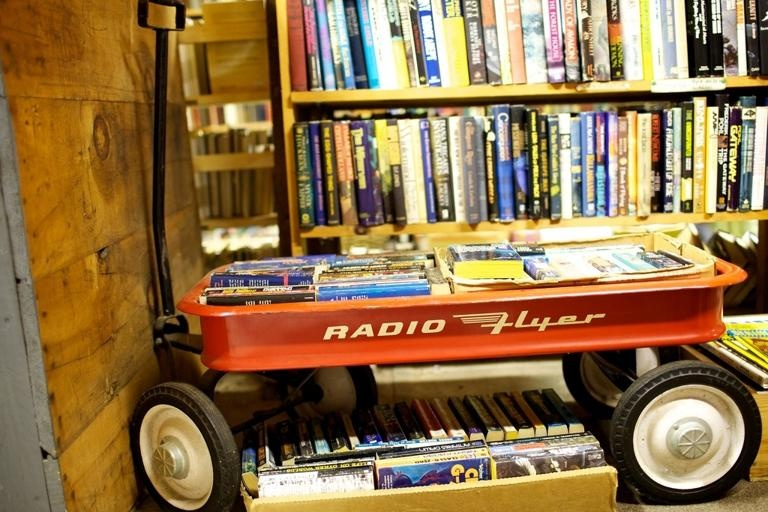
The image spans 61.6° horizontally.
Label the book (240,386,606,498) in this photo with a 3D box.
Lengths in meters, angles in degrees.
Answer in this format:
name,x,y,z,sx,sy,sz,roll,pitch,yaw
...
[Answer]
name,x,y,z,sx,sy,sz,roll,pitch,yaw
book,0.088,0.529,1.818,0.685,0.151,0.407,-2,8,-7
